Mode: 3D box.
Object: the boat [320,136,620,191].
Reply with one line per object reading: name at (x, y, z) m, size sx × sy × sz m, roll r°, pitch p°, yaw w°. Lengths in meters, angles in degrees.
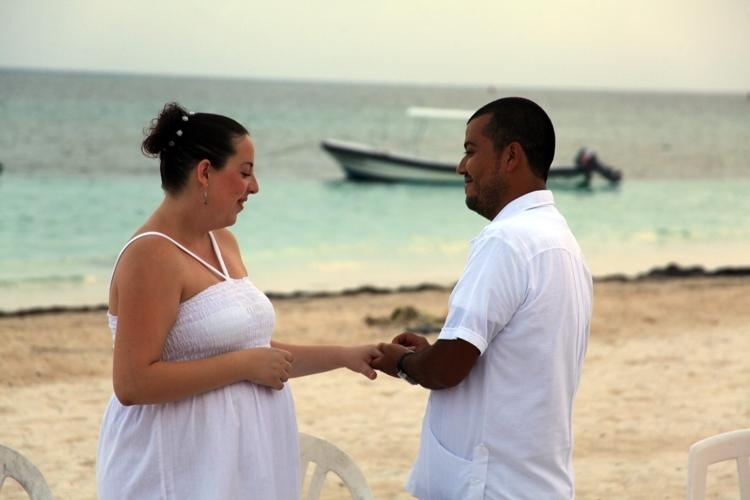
boat at (2.143, -1.846, 35.283) m, size 6.967 × 1.060 × 1.461 m, roll 7°, pitch -2°, yaw -8°
